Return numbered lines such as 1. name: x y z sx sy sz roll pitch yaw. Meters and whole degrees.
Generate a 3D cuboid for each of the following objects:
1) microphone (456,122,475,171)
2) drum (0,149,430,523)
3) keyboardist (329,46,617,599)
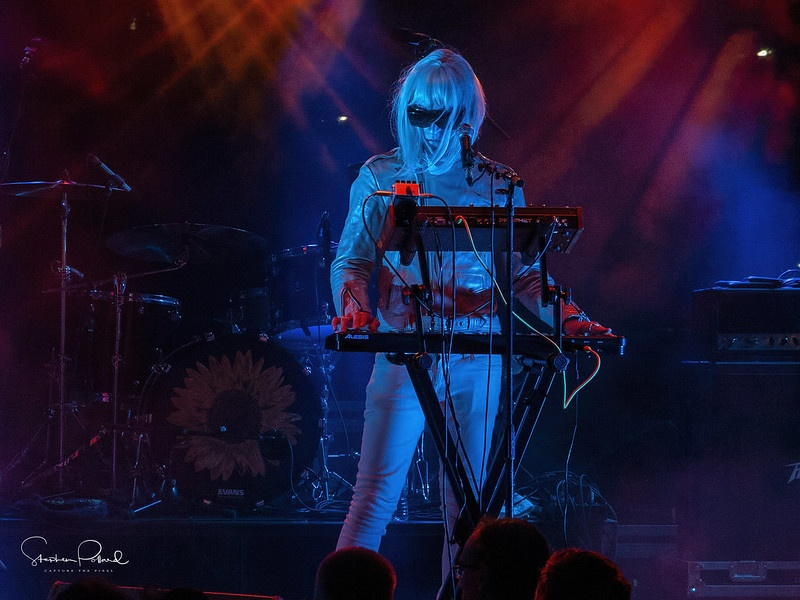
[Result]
1. microphone: 0.399 -0.915 6.305 0.096 0.317 0.199 5 -6 3
2. drum: -2.195 0.877 9.418 2.697 2.363 2.565 -5 -29 9
3. keyboardist: 0.339 0.401 6.682 1.605 3.773 1.283 1 25 1
